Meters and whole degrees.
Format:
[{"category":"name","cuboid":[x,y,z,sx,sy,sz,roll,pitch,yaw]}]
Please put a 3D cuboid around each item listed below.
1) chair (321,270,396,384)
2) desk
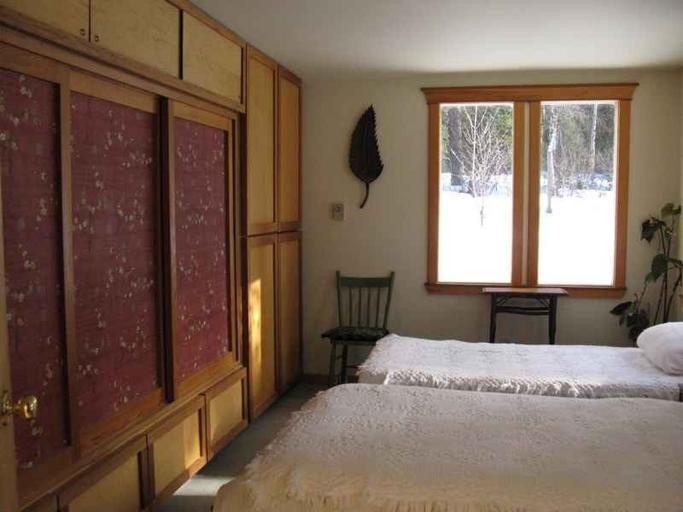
[{"category":"chair","cuboid":[0.142,0.687,4.613,0.602,1.057,0.535,2,0,-1]},{"category":"desk","cuboid":[1.613,0.508,4.560,0.487,0.478,0.217,1,1,21]}]
